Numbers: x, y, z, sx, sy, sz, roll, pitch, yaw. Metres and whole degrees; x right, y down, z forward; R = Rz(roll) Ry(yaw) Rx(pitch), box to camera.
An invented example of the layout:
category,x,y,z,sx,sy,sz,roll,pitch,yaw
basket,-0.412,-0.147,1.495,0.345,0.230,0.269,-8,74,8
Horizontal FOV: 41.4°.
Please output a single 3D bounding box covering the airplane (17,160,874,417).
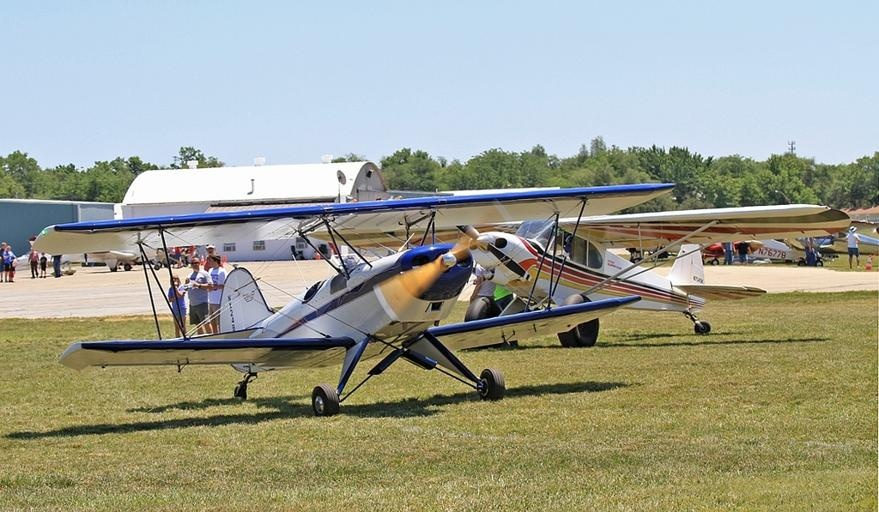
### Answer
category,x,y,z,sx,sy,sz,roll,pitch,yaw
airplane,-1.249,0.601,24.061,13.476,4.309,4.924,-3,11,-16
